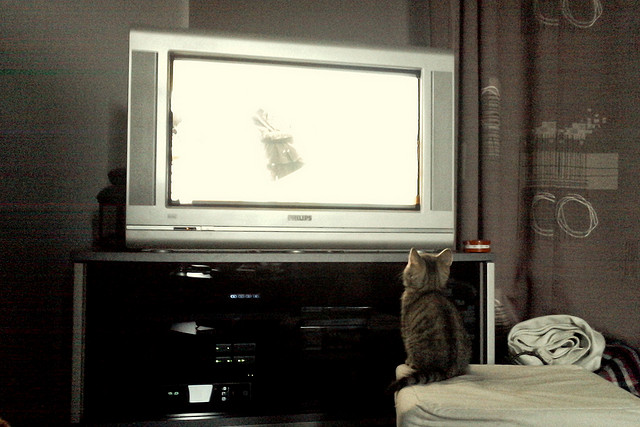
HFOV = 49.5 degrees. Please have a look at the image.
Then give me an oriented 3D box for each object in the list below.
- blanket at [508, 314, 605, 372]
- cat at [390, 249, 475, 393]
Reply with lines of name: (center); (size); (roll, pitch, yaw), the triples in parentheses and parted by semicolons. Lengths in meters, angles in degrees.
blanket: (1.144, 0.641, 3.354); (0.461, 0.264, 0.202); (-3, 4, 5)
cat: (0.480, 0.479, 3.084); (0.341, 0.426, 0.784); (2, 28, 2)
